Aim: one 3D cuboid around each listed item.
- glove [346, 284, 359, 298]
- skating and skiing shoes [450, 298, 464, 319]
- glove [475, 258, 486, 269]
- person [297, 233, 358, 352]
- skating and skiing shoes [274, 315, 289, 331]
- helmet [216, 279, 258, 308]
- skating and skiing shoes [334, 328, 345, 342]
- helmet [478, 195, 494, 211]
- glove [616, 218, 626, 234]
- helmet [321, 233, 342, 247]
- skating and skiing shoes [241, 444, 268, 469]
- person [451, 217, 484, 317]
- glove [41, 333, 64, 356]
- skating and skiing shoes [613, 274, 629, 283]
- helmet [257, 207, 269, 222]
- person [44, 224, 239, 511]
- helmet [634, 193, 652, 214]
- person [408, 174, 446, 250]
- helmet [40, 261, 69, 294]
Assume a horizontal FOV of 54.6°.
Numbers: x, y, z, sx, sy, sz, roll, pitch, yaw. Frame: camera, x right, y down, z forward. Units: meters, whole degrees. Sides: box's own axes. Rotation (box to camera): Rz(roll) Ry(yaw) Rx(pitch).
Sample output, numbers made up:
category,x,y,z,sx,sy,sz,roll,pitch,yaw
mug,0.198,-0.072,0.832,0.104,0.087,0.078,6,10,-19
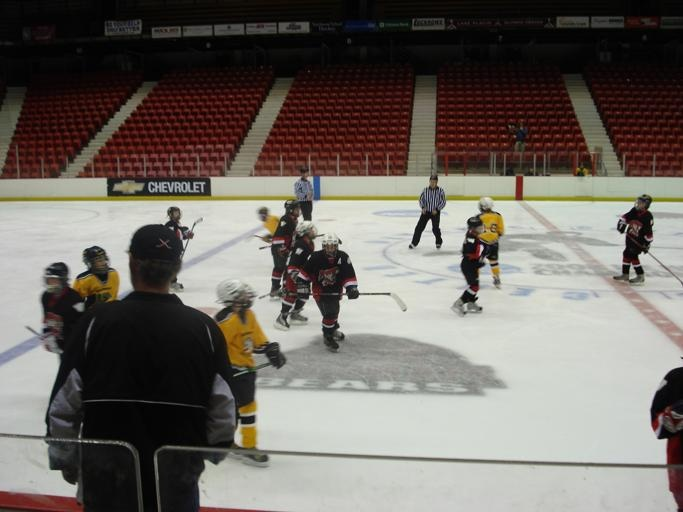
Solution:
category,x,y,z,sx,sy,sz,roll,pitch,yaw
glove,0.144,0.442,8.165,0.151,0.143,0.151,-3,10,-15
skating and skiing shoes,1.709,0.754,9.623,0.177,0.246,0.256,-1,1,-8
glove,2.024,0.125,9.598,0.162,0.055,0.166,-13,18,-35
person,-0.162,0.437,8.266,0.744,1.427,0.405,0,10,5
skating and skiing shoes,-0.835,0.913,9.130,0.241,0.239,0.135,10,5,22
helmet,-0.895,0.314,5.730,0.290,0.249,0.217,-1,12,-14
skating and skiing shoes,-0.039,1.025,8.660,0.221,0.148,0.072,-15,23,-34
helmet,2.371,-0.850,10.706,0.261,0.320,0.335,1,9,-2
glove,4.609,-0.529,10.992,0.202,0.260,0.094,14,-19,-25
helmet,-0.122,-0.162,8.081,0.172,0.218,0.190,-3,9,-3
skating and skiing shoes,-0.530,1.182,3.889,0.220,0.092,0.083,1,8,31
person,1.873,0.127,9.809,0.425,1.413,0.820,1,10,11
glove,-2.649,0.813,6.054,0.193,0.173,0.160,0,-5,38
skating and skiing shoes,4.847,0.384,11.498,0.231,0.223,0.106,8,12,34
helmet,-1.309,-0.678,10.843,0.223,0.214,0.180,7,12,21
person,-1.141,0.686,3.751,1.036,1.686,0.363,1,10,11
helmet,4.974,-0.873,10.942,0.203,0.261,0.548,3,10,22
person,1.971,-1.034,15.178,0.716,1.637,1.499,1,9,8
helmet,-2.629,0.192,6.064,0.215,0.273,0.280,2,0,6
